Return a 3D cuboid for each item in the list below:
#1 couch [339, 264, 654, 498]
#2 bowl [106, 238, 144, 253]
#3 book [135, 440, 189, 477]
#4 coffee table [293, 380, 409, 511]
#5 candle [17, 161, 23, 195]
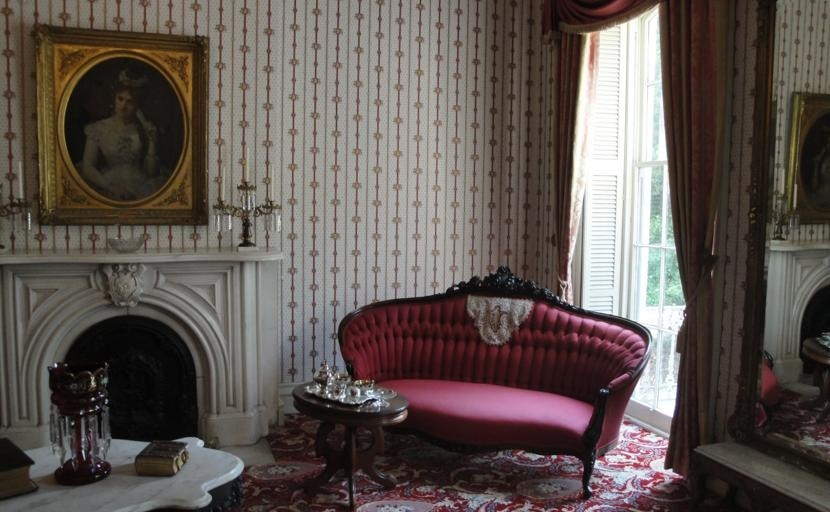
[{"bbox_3d":[0.611,1.078,6.135,2.734,1.388,1.216,3,11,27],"label":"couch"},{"bbox_3d":[-2.474,-0.089,6.054,0.187,0.082,0.189,-1,0,0],"label":"bowl"},{"bbox_3d":[-1.699,1.349,4.723,0.220,0.097,0.240,3,2,3],"label":"book"},{"bbox_3d":[-0.553,1.438,5.614,0.844,0.742,0.879,1,2,-20],"label":"coffee table"},{"bbox_3d":[-3.315,-0.649,5.936,0.053,0.321,0.333,-3,3,-29],"label":"candle"}]
